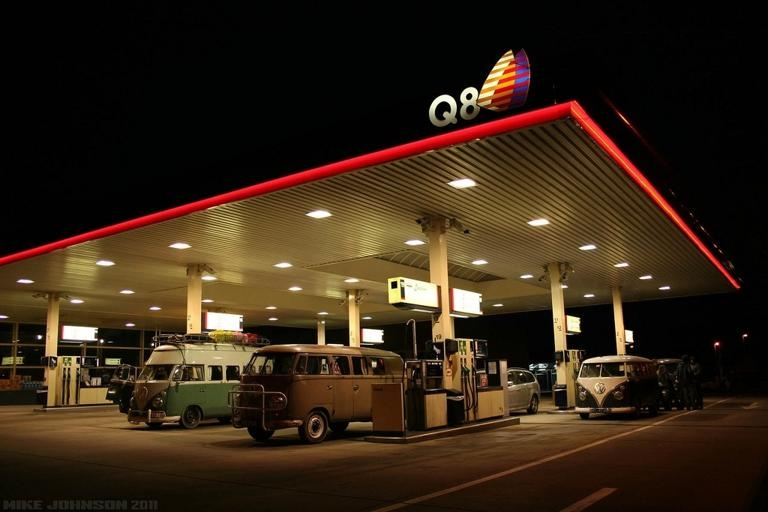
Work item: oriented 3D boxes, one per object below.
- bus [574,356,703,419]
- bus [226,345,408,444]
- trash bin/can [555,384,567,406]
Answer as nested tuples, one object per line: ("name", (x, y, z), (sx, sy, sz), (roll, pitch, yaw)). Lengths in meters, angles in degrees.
("bus", (8.724, 4.631, 20.258), (3.526, 1.673, 1.982), (5, -7, -43))
("bus", (-1.829, 4.146, 16.992), (2.629, 2.243, 5.438), (-11, -16, 40))
("trash bin/can", (7.577, 6.056, 23.737), (0.255, 1.010, 0.565), (5, -11, -30))
